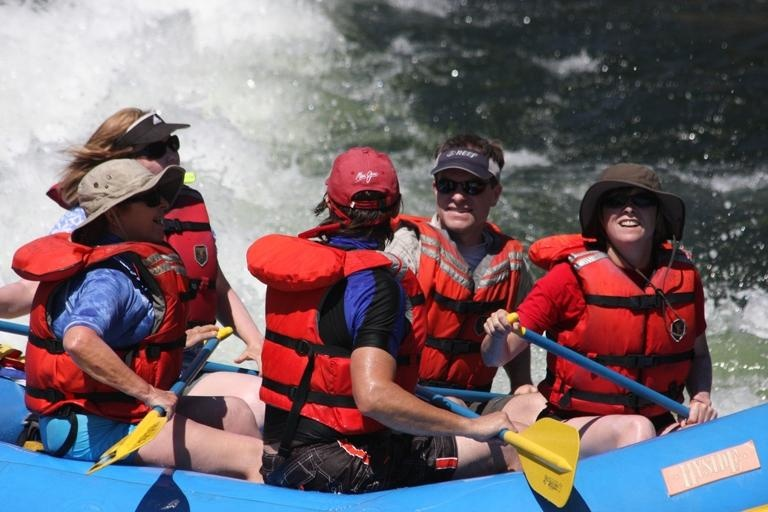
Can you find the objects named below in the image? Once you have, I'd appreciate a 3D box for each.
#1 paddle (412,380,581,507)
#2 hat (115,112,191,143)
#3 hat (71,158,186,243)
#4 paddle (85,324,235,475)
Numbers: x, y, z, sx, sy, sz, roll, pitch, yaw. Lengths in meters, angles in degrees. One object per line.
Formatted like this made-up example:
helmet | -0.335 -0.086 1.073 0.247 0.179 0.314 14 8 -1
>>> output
paddle | 0.862 1.272 7.165 1.344 0.456 0.161 24 20 34
hat | -1.835 -0.984 8.186 0.464 0.143 0.282 -21 -2 27
hat | -1.784 -0.445 7.494 0.689 0.301 0.537 -23 -6 -9
paddle | -1.437 0.970 7.493 0.405 0.105 1.890 -5 24 27
